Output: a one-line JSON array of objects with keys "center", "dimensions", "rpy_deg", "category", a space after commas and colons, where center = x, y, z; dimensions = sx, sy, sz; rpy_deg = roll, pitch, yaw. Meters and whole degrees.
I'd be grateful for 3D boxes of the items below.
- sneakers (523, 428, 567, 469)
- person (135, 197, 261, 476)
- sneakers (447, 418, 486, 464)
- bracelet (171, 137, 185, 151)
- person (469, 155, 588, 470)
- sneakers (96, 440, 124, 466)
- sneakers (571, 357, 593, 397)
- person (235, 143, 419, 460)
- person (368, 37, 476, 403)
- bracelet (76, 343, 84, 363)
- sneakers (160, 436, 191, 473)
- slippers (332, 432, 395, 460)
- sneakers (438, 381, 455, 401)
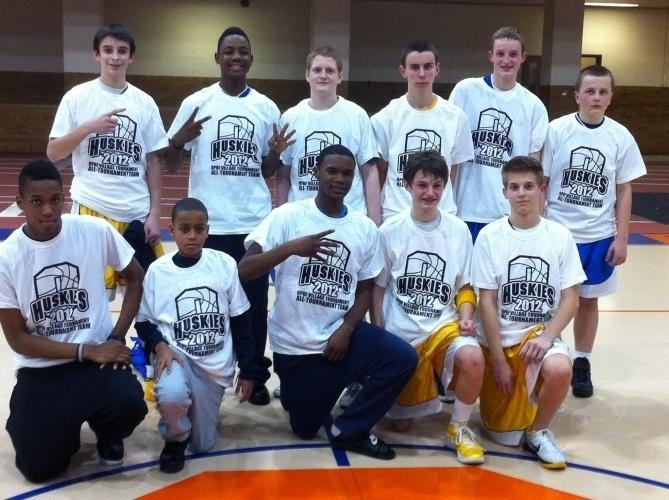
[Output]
[{"center": [1.316, 1.220, 4.159], "dimensions": [0.160, 0.167, 0.414], "rpy_deg": [1, 6, -10], "category": "sneakers"}, {"center": [-0.837, 0.626, 4.136], "dimensions": [0.670, 1.234, 0.564], "rpy_deg": [-6, 13, -26], "category": "person"}, {"center": [0.822, 1.183, 4.176], "dimensions": [0.155, 0.197, 0.444], "rpy_deg": [4, 2, -11], "category": "sneakers"}, {"center": [-1.129, -0.763, 4.778], "dimensions": [0.088, 0.060, 0.117], "rpy_deg": [0, -2, -9], "category": "bracelet"}, {"center": [1.221, 0.335, 4.279], "dimensions": [0.704, 1.816, 0.637], "rpy_deg": [5, 13, 21], "category": "person"}, {"center": [-1.339, 1.210, 3.989], "dimensions": [0.168, 0.167, 0.101], "rpy_deg": [2, -4, -11], "category": "sneakers"}, {"center": [1.863, 0.948, 4.985], "dimensions": [0.115, 0.147, 0.343], "rpy_deg": [-2, 9, 12], "category": "sneakers"}, {"center": [0.001, 0.279, 4.278], "dimensions": [1.084, 1.869, 0.573], "rpy_deg": [5, 13, 22], "category": "person"}, {"center": [0.658, -0.619, 5.043], "dimensions": [0.866, 1.731, 0.389], "rpy_deg": [-2, 13, -3], "category": "person"}, {"center": [-1.480, 0.592, 3.873], "dimensions": [0.028, 0.078, 0.066], "rpy_deg": [0, 2, -6], "category": "bracelet"}, {"center": [-0.959, 1.222, 3.945], "dimensions": [0.086, 0.101, 0.253], "rpy_deg": [4, 3, -5], "category": "sneakers"}, {"center": [0.193, 1.212, 4.116], "dimensions": [0.421, 0.166, 0.139], "rpy_deg": [5, 14, 9], "category": "slippers"}, {"center": [0.818, 1.039, 4.908], "dimensions": [0.091, 0.118, 0.297], "rpy_deg": [-1, -3, -7], "category": "sneakers"}]
